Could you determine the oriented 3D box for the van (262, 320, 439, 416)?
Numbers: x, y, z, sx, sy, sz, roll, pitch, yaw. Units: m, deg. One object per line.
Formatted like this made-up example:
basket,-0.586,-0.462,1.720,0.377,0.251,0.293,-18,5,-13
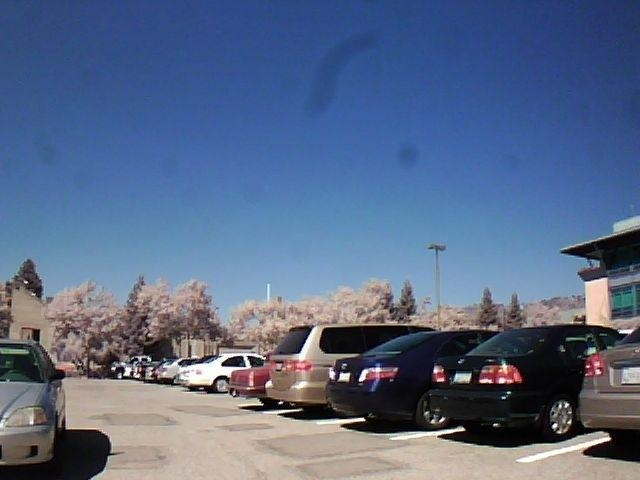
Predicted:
van,0.924,3.175,13.414,4.079,1.399,2.067,0,-5,-23
